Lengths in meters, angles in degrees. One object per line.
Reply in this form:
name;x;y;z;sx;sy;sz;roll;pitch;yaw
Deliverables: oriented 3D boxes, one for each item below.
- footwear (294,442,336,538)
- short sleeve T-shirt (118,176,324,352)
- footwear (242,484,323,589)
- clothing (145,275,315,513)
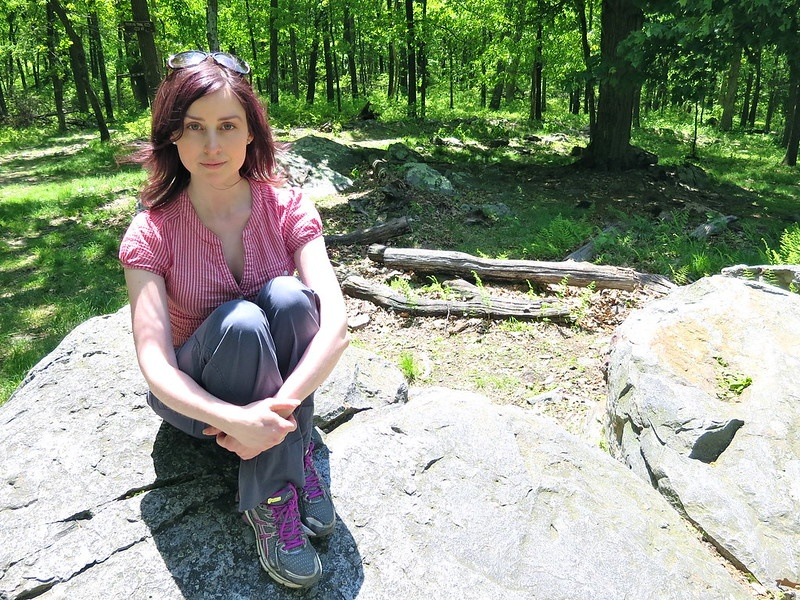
footwear;-0.501;1.117;3.830;0.164;0.249;0.506;-18;71;-20
short sleeve T-shirt;-1.044;-0.199;3.804;0.792;0.756;0.421;-19;32;-21
footwear;-0.661;1.334;3.654;0.255;0.285;0.689;-18;43;-28
clothing;-0.813;0.391;3.630;0.746;1.402;0.412;-31;36;-29
